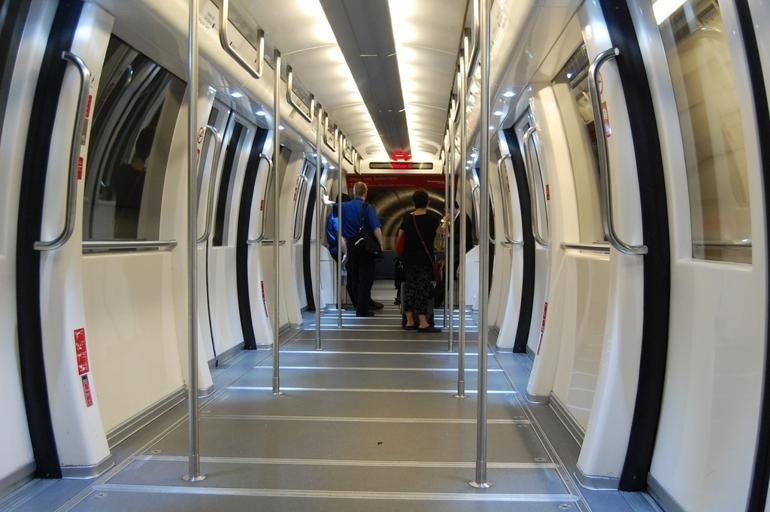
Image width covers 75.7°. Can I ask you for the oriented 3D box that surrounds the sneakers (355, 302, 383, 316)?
[{"bbox_3d":[-0.386,1.141,10.607,0.205,0.297,0.652,5,10,28],"label":"sneakers"}]

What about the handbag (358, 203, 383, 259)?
[{"bbox_3d":[-0.310,-0.452,9.442,0.497,1.293,1.059,0,-11,-6],"label":"handbag"}]

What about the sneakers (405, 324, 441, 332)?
[{"bbox_3d":[0.653,1.304,8.837,0.588,0.175,0.228,0,-5,6],"label":"sneakers"}]

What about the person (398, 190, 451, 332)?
[{"bbox_3d":[0.587,0.119,8.803,0.634,2.376,0.633,1,-13,8],"label":"person"}]
